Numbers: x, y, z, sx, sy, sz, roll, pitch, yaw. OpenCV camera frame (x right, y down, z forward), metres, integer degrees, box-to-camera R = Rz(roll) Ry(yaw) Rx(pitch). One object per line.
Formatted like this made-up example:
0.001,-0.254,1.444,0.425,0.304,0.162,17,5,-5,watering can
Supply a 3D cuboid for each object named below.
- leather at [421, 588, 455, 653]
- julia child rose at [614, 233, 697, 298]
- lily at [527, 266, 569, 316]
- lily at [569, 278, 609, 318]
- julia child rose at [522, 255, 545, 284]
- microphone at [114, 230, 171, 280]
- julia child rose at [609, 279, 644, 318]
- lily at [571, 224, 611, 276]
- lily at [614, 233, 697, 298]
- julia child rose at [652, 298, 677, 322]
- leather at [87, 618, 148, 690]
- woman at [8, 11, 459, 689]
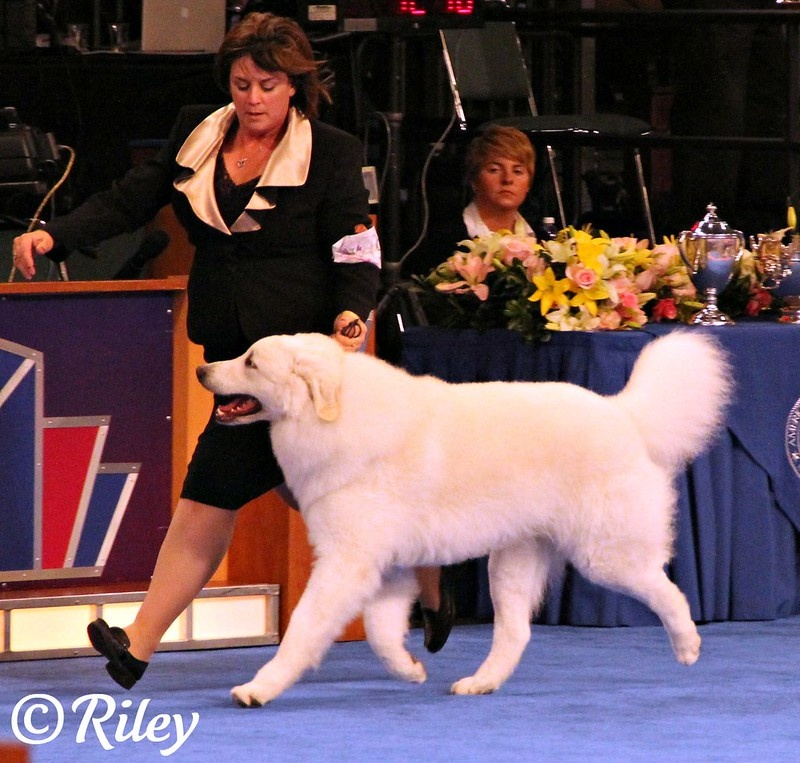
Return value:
0.110,0.674,4.182,0.091,0.195,0.073,1,19,-3,leather
0.850,-0.389,5.048,0.413,0.195,0.172,-4,6,-35,julia child rose
0.481,-0.287,4.750,0.122,0.146,0.126,0,5,4,lily
0.605,-0.270,4.721,0.116,0.119,0.049,-26,-12,5,lily
0.438,-0.372,4.866,0.085,0.103,0.078,1,2,20,julia child rose
-0.900,-0.415,5.147,0.103,0.093,0.374,-48,5,-26,microphone
0.733,-0.268,4.768,0.076,0.113,0.116,-12,23,16,julia child rose
0.623,-0.423,4.798,0.149,0.133,0.049,25,-32,-28,lily
0.850,-0.389,5.048,0.413,0.195,0.172,-4,6,-35,lily
0.906,-0.243,5.058,0.085,0.079,0.084,1,5,10,julia child rose
-0.751,0.723,3.902,0.147,0.111,0.324,32,-4,1,leather
-0.366,-0.046,3.847,1.394,1.798,0.834,-4,8,-15,woman
